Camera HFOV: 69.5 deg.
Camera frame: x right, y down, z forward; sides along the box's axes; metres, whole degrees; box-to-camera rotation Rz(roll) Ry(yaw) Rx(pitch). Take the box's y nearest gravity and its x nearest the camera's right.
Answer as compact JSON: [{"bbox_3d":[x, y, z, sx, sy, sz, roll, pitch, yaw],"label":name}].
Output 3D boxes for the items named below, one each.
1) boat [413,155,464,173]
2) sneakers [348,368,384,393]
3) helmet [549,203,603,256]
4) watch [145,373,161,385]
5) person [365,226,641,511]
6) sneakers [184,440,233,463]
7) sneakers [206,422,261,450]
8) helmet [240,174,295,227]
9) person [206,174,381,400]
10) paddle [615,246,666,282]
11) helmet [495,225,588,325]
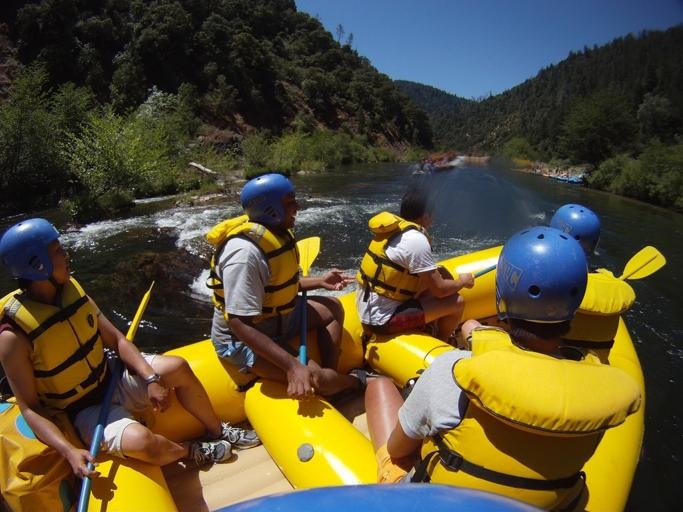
[{"bbox_3d":[0.742,-0.695,3.807,0.377,0.159,0.411,2,20,15],"label":"boat"},{"bbox_3d":[0.164,0.946,3.833,0.202,0.205,0.071,-3,-34,-25],"label":"sneakers"},{"bbox_3d":[1.676,-0.175,3.612,0.334,0.413,0.422,-14,-15,30],"label":"helmet"},{"bbox_3d":[-1.166,0.750,3.039,0.073,0.049,0.074,-17,-12,-9],"label":"watch"},{"bbox_3d":[0.708,0.584,2.438,1.247,1.367,0.768,16,27,42],"label":"person"},{"bbox_3d":[-0.868,1.273,3.247,0.315,0.115,0.142,2,-8,-27],"label":"sneakers"},{"bbox_3d":[-0.739,1.216,3.381,0.338,0.145,0.141,6,0,-9],"label":"sneakers"},{"bbox_3d":[-0.509,-0.408,3.434,0.399,0.331,0.318,-6,19,9],"label":"helmet"},{"bbox_3d":[-0.396,0.230,3.622,0.994,1.699,1.247,8,19,23],"label":"person"},{"bbox_3d":[2.251,0.056,3.699,0.218,0.056,0.586,-6,-13,13],"label":"paddle"},{"bbox_3d":[0.993,0.075,2.476,0.405,0.516,0.496,-11,9,-16],"label":"helmet"}]
